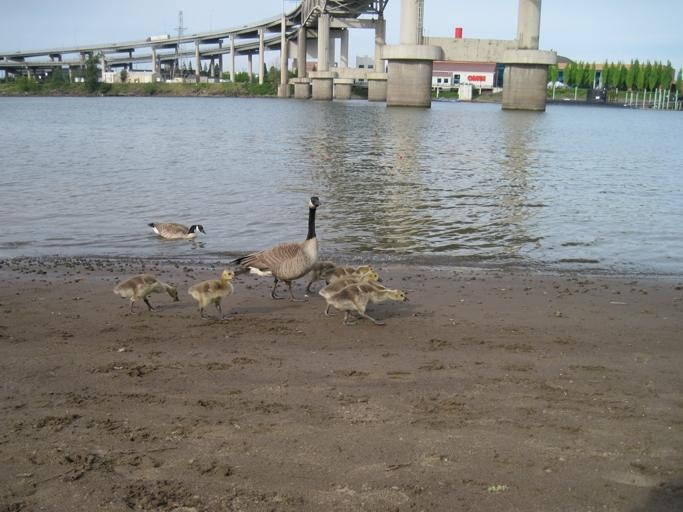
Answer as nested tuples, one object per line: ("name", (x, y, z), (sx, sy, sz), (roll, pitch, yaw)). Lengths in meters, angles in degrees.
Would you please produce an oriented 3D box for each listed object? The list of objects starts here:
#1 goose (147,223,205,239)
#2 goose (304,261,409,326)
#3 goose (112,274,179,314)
("goose", (-3.997, -0.594, 16.222), (1.195, 0.365, 0.629), (2, 12, 5))
("goose", (0.265, 0.676, 10.794), (1.227, 0.577, 1.398), (-1, 12, -8))
("goose", (-3.132, 0.549, 10.965), (0.801, 0.601, 0.917), (2, 12, 3))
